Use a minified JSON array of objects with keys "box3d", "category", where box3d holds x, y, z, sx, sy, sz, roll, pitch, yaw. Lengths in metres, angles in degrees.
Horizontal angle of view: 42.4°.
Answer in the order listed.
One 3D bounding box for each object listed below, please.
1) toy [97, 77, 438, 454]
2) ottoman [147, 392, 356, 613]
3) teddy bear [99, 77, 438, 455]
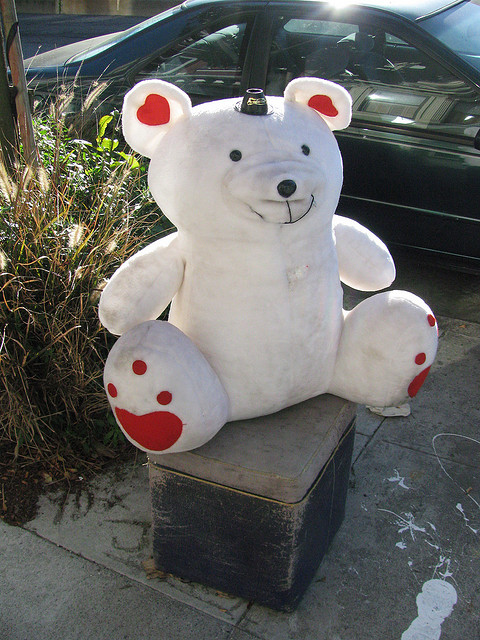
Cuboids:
[{"box3d":[0.068,-0.186,1.858,1.157,0.951,0.669,-10,28,-32],"category":"toy"},{"box3d":[0.080,0.617,2.081,0.658,0.430,0.593,4,11,8],"category":"ottoman"},{"box3d":[0.036,-0.189,1.835,1.162,0.965,0.711,-14,28,-36],"category":"teddy bear"}]
